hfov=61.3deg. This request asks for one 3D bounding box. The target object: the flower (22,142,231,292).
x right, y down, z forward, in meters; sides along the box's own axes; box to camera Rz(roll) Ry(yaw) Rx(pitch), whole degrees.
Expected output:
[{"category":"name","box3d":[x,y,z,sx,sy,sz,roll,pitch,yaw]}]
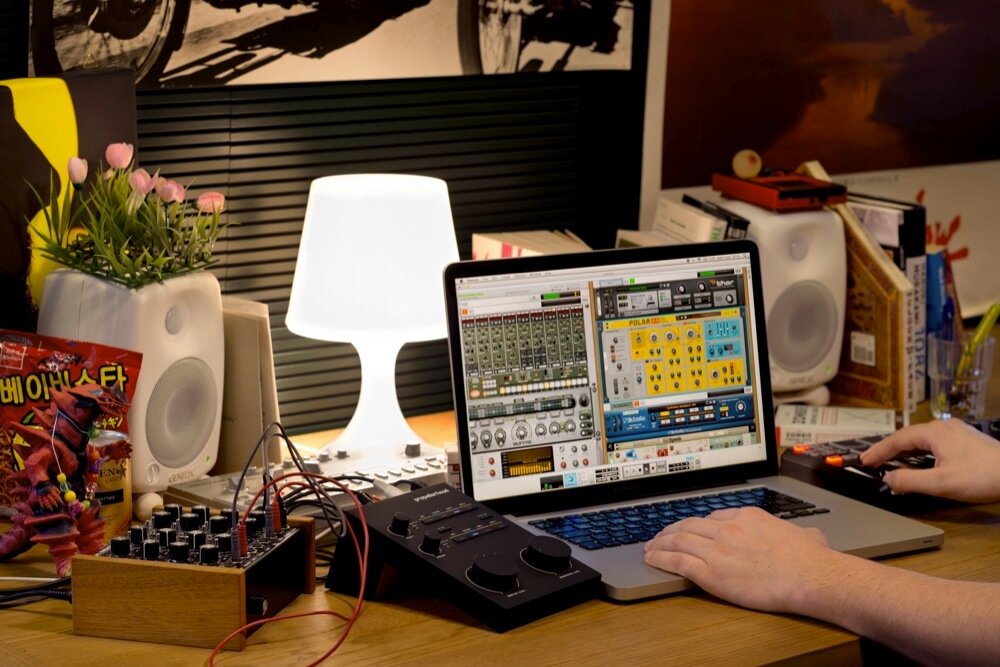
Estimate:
[{"category":"flower","box3d":[-0.653,-0.191,1.487,0.279,0.158,0.256,22,28,21]}]

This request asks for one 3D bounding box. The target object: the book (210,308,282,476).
[{"category":"book","box3d":[-0.463,0.113,1.527,0.105,0.287,0.289,-2,5,-27]}]

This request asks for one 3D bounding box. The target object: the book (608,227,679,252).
[{"category":"book","box3d":[0.340,-0.211,1.904,0.110,0.066,0.110,2,8,17]}]

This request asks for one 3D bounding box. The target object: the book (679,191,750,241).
[{"category":"book","box3d":[0.463,-0.240,1.842,0.118,0.032,0.120,7,14,-37]}]
